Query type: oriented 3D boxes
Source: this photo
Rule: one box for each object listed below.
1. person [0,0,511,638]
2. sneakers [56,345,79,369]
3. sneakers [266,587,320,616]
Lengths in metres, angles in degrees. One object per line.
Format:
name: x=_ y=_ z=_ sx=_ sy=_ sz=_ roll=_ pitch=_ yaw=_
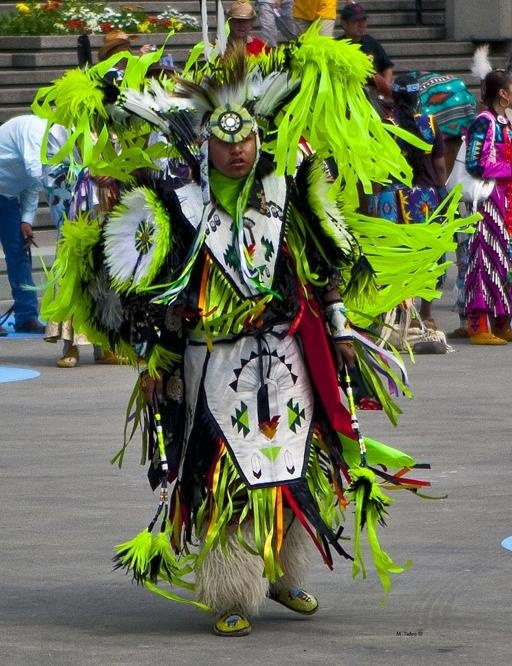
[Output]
person: x=-0.057 y=0.045 z=3.256 sx=1.141 sy=1.712 sz=0.793 roll=-2 pitch=15 yaw=8
sneakers: x=-1.329 y=0.178 z=8.124 sx=0.093 sy=0.150 sz=0.232 roll=-1 pitch=-7 yaw=9
sneakers: x=0.113 y=0.749 z=3.349 sx=0.166 sy=0.062 sz=0.057 roll=8 pitch=36 yaw=30
